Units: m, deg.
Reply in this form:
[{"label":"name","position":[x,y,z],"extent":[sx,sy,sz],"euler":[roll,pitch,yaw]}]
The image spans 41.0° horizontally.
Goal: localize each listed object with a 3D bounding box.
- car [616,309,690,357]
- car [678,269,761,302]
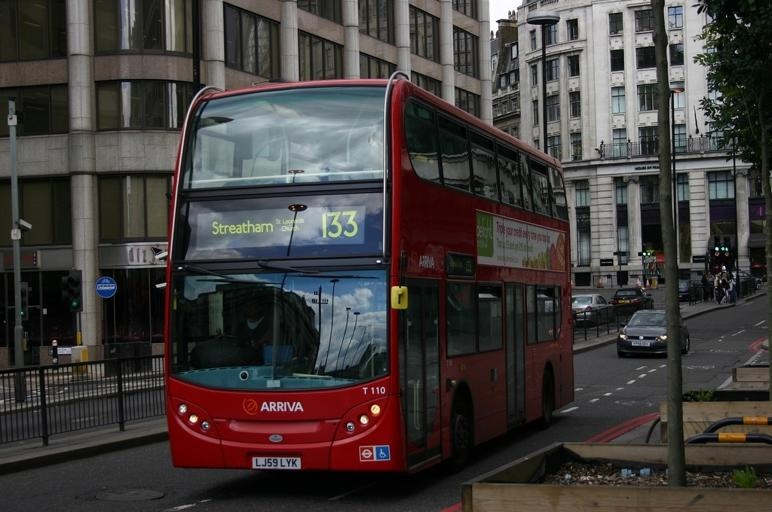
[{"label":"car","position":[9.693,3.005,39.127],"extent":[1.677,1.762,2.250],"euler":[3,5,12]},{"label":"car","position":[24.165,2.112,74.839],"extent":[6.692,1.975,1.872],"euler":[-3,6,-25]}]
